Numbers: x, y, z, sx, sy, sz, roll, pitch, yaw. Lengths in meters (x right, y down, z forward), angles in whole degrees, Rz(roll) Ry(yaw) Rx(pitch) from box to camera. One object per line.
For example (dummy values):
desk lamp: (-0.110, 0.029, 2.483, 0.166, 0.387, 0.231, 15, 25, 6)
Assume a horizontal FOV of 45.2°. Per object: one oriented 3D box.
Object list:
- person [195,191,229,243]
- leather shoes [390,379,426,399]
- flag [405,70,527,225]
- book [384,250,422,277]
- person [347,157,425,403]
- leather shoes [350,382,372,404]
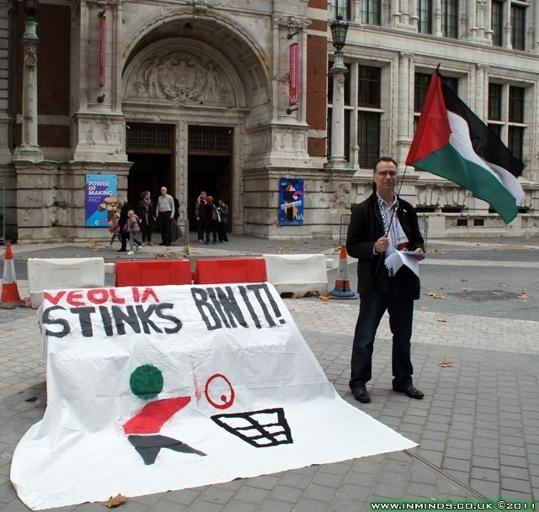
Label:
person: (-2.052, -1.374, 22.658, 1.074, 1.750, 2.360, 0, 6, -8)
leather shoes: (1.269, 1.181, 5.944, 0.104, 0.135, 0.288, -5, 6, -38)
flag: (2.224, -1.234, 7.287, 1.284, 1.632, 0.653, 1, 5, 8)
book: (1.166, 0.016, 5.787, 0.218, 0.139, 0.255, 4, 8, 32)
person: (1.054, 0.176, 5.903, 0.714, 2.134, 0.571, 0, 5, 0)
leather shoes: (0.804, 1.195, 5.812, 0.216, 0.123, 0.235, 3, 7, 20)
